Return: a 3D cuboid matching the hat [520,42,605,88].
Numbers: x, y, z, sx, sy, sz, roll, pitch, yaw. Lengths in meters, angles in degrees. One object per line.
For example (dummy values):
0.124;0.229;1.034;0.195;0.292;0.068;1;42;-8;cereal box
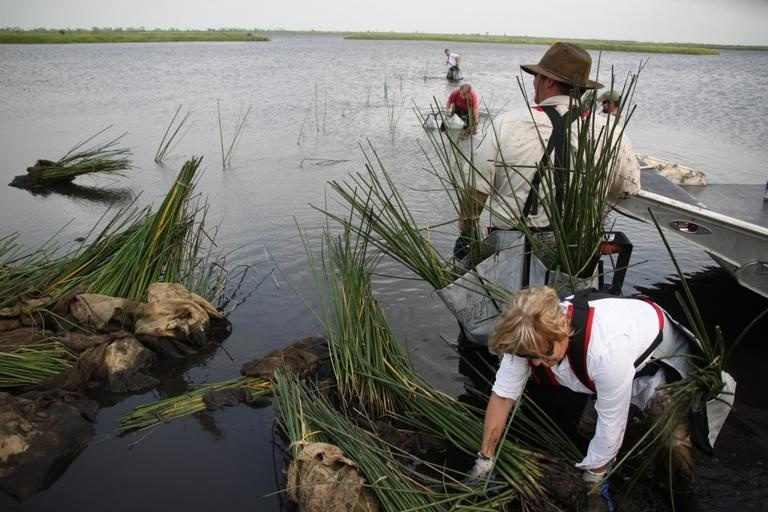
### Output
1.465;-1.697;4.509;0.622;0.237;0.648;-3;6;24;hat
